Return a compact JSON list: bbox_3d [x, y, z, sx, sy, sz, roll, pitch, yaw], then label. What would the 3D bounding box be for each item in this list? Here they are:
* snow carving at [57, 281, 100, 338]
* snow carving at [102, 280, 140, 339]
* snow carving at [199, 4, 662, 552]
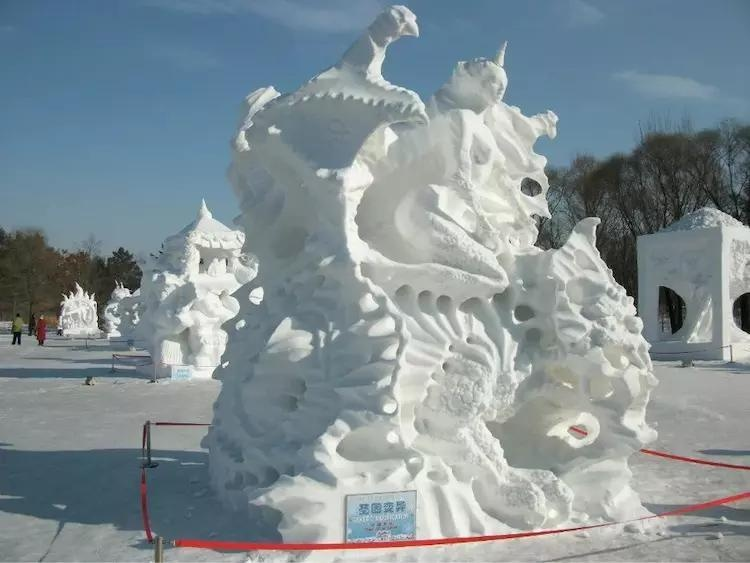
[{"bbox_3d":[-13.689,1.337,41.014,0.649,2.958,2.310,-3,-3,28],"label":"snow carving"},{"bbox_3d":[-9.512,1.091,32.988,0.790,2.255,1.578,9,-22,-39],"label":"snow carving"},{"bbox_3d":[1.039,0.507,11.510,6.088,6.884,4.844,2,-6,-32],"label":"snow carving"}]
